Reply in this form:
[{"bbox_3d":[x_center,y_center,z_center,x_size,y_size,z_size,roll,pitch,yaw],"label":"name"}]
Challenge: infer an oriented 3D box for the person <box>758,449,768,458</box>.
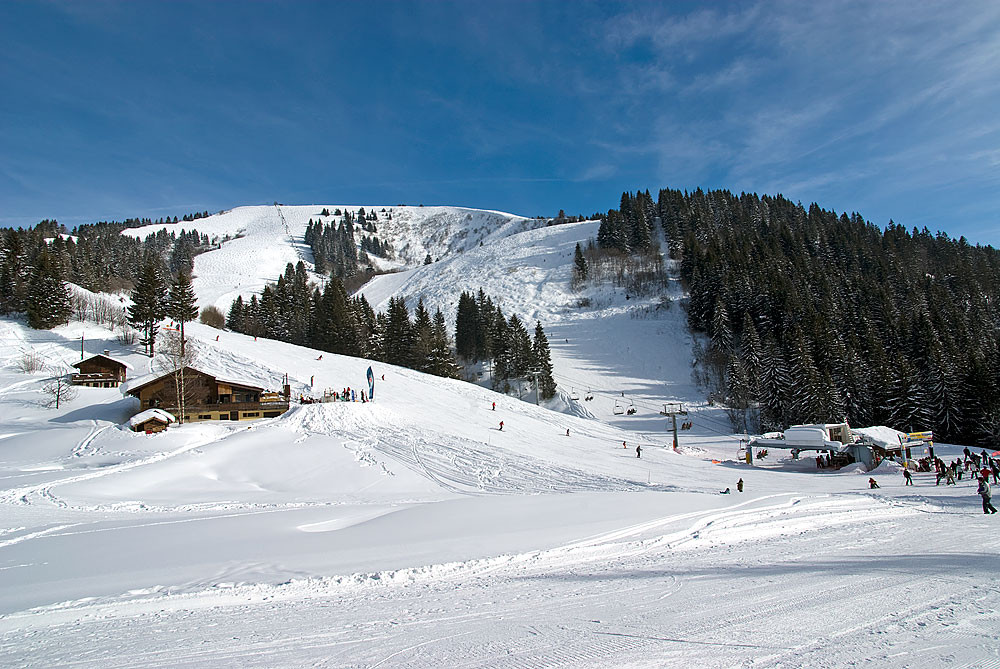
[{"bbox_3d":[23.267,10.658,76.165,0.586,0.574,1.613,7,9,35],"label":"person"}]
